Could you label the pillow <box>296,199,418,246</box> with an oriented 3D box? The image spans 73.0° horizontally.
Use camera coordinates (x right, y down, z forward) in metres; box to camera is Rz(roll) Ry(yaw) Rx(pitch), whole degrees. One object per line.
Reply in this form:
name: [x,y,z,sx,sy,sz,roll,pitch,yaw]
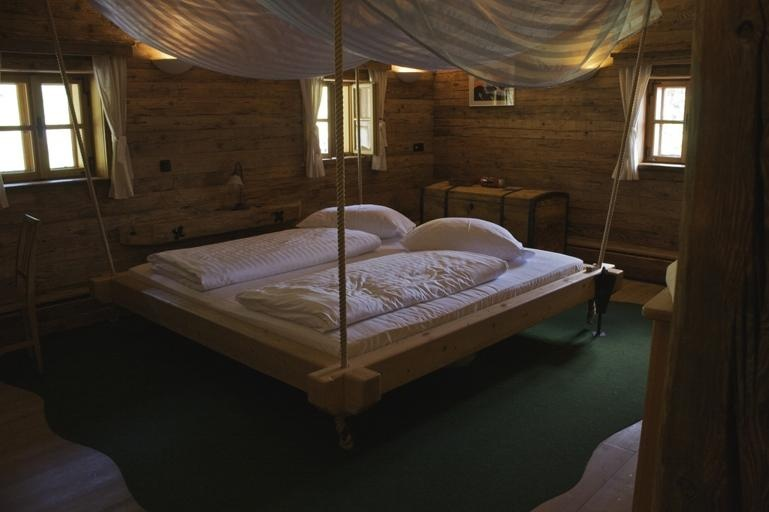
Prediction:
pillow: [-0.248,-0.383,5.070,0.989,0.228,0.549,5,14,11]
